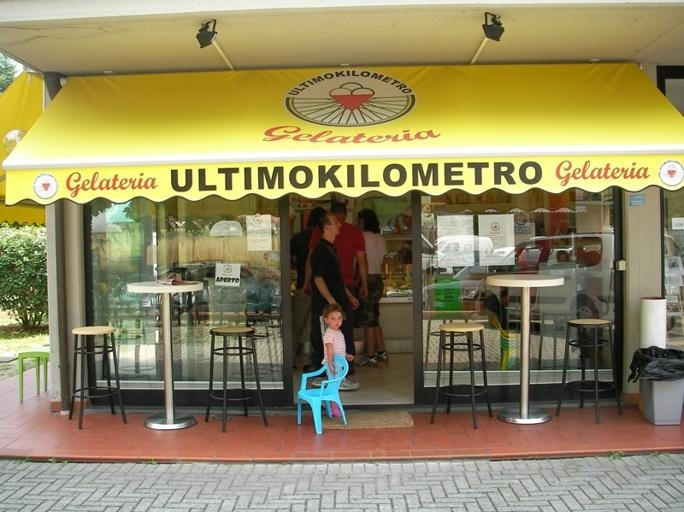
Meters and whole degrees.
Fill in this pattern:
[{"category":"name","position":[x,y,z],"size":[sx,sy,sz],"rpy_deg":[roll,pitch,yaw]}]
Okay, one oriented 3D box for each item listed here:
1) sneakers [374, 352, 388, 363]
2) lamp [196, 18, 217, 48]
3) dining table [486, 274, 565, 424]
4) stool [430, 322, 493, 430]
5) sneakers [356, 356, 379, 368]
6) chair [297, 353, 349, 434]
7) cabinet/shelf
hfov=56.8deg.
[{"category":"sneakers","position":[0.619,1.662,10.390],"size":[0.213,0.159,0.424],"rpy_deg":[-1,-3,-1]},{"category":"lamp","position":[-1.509,-2.463,7.006],"size":[0.224,0.266,0.205],"rpy_deg":[-4,15,-9]},{"category":"dining table","position":[2.262,1.087,7.961],"size":[0.866,1.811,1.066],"rpy_deg":[3,16,16]},{"category":"stool","position":[1.538,1.409,8.038],"size":[0.770,1.238,1.205],"rpy_deg":[2,14,12]},{"category":"sneakers","position":[0.358,1.726,10.394],"size":[0.441,0.148,0.150],"rpy_deg":[0,-1,24]},{"category":"chair","position":[-0.263,1.684,7.796],"size":[0.649,0.732,0.592],"rpy_deg":[-6,4,-20]},{"category":"cabinet/shelf","position":[0.171,0.563,11.315],"size":[1.113,2.729,0.979],"rpy_deg":[-3,-4,21]}]
